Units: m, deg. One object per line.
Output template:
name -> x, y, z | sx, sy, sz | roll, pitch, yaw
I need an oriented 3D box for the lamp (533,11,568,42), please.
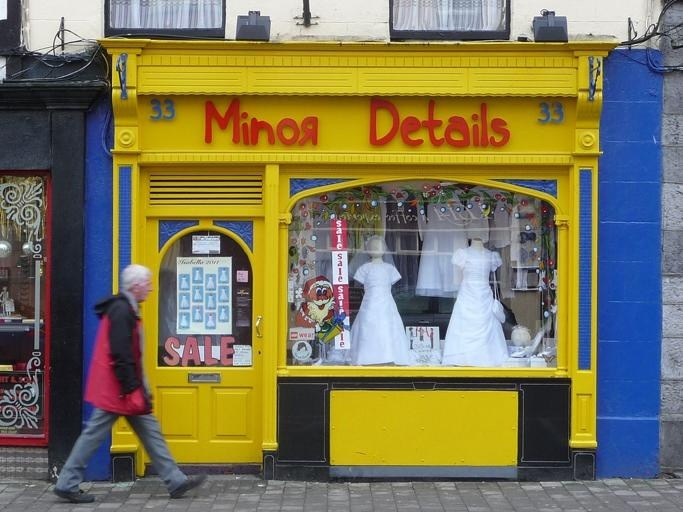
lamp -> 2.238, -2.462, 15.327 | 0.405, 0.336, 0.338 | 0, 4, 6

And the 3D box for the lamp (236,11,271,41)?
lamp -> -0.964, -2.480, 15.367 | 0.295, 0.343, 0.120 | 1, -14, -3

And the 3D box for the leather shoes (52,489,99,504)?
leather shoes -> -2.754, 2.427, 14.604 | 0.449, 0.175, 0.153 | 2, 8, -11

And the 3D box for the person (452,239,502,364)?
person -> 1.468, 0.477, 15.586 | 0.635, 1.370, 0.277 | -1, 1, 3

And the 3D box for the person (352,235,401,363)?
person -> 0.395, 0.461, 15.601 | 0.597, 1.398, 0.240 | -1, 1, 1
